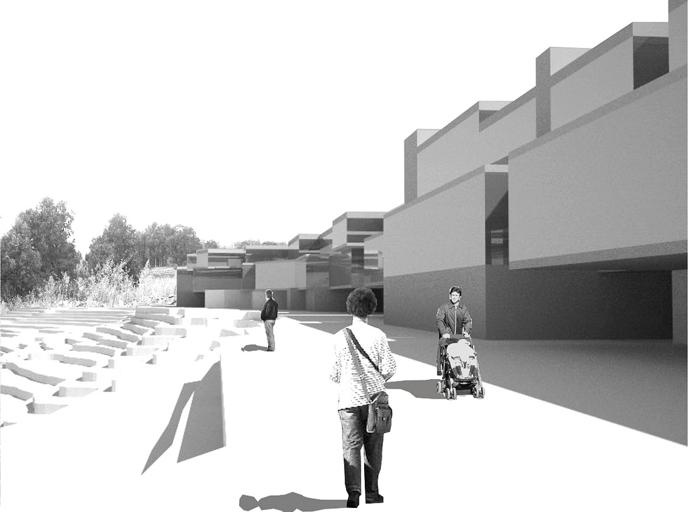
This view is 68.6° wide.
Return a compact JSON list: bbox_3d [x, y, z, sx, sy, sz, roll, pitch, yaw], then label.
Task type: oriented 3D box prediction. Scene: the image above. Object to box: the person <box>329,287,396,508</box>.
[{"bbox_3d":[0.166,1.281,4.698,0.593,1.979,0.557,0,-3,1],"label":"person"}]
